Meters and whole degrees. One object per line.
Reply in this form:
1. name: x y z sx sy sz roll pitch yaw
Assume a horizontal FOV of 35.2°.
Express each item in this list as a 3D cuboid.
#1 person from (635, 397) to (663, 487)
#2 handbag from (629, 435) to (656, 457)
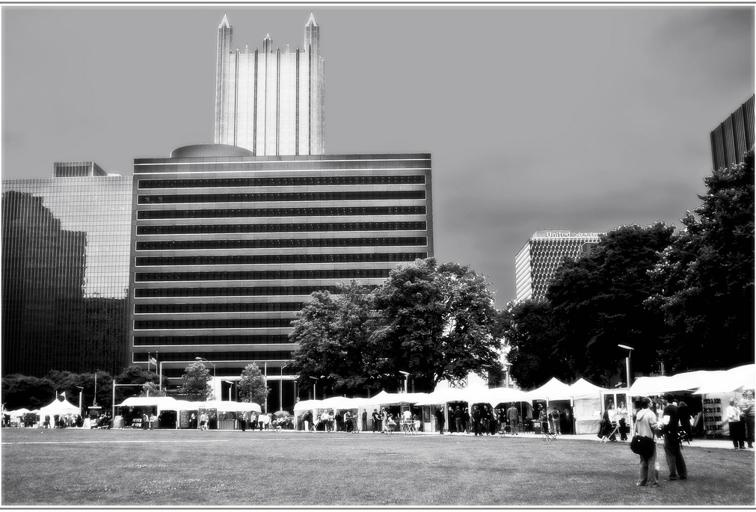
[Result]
1. person: 13.794 9.464 61.053 1.098 4.354 1.236 -5 5 5
2. handbag: 13.530 9.661 60.670 1.254 1.206 0.660 5 -13 -23
